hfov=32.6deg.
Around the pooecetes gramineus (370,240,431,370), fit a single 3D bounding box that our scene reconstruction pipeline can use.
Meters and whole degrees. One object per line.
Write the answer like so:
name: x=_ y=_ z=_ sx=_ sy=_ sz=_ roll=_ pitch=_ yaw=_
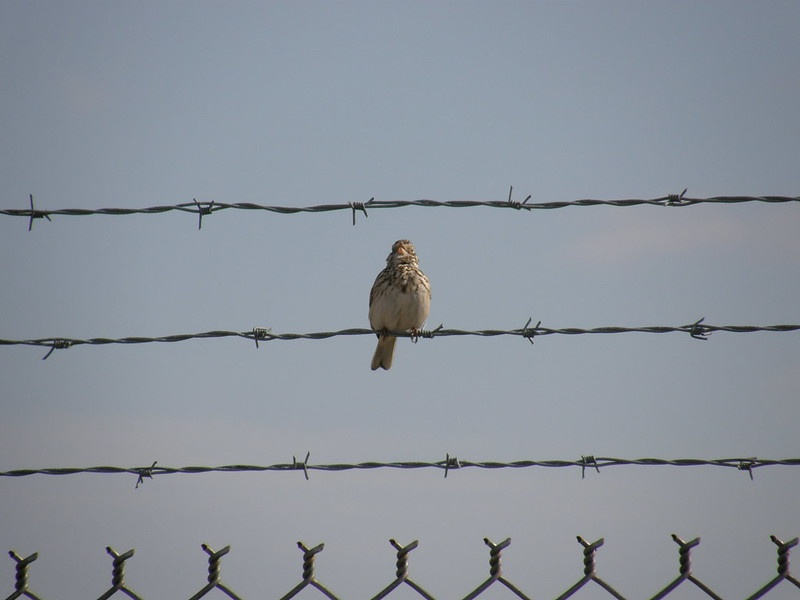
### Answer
pooecetes gramineus: x=-0.012 y=-0.050 z=9.743 sx=0.338 sy=0.626 sz=1.040 roll=5 pitch=-53 yaw=-5
